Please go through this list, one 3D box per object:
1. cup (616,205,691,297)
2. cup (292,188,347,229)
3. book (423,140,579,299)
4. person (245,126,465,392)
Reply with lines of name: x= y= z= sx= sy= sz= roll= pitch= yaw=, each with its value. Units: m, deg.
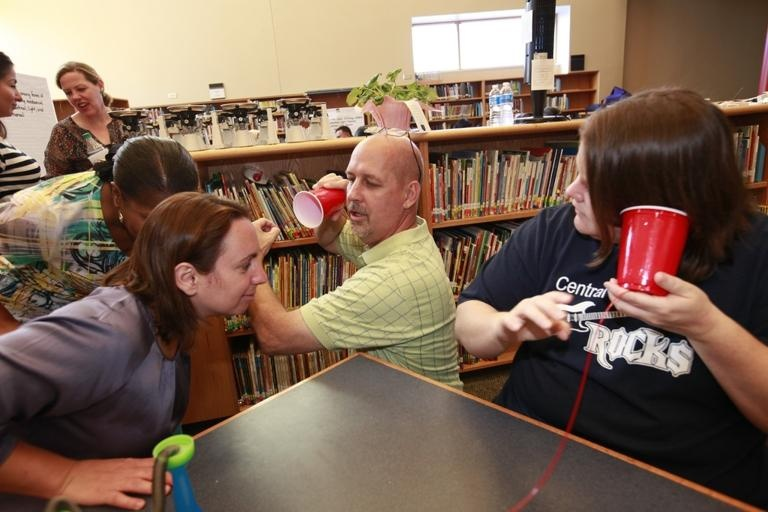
cup: x=0.663 y=-0.016 z=1.162 sx=0.144 sy=0.204 sz=0.121 roll=5 pitch=21 yaw=31
cup: x=-0.266 y=-0.203 z=2.009 sx=0.183 sy=0.117 sz=0.115 roll=-21 pitch=-11 yaw=-35
book: x=0.541 y=-0.184 z=2.227 sx=0.831 sy=0.730 sz=0.280 roll=-10 pitch=21 yaw=-22
person: x=0.019 y=-0.149 z=2.531 sx=1.090 sy=1.741 sz=0.890 roll=-1 pitch=10 yaw=-3
